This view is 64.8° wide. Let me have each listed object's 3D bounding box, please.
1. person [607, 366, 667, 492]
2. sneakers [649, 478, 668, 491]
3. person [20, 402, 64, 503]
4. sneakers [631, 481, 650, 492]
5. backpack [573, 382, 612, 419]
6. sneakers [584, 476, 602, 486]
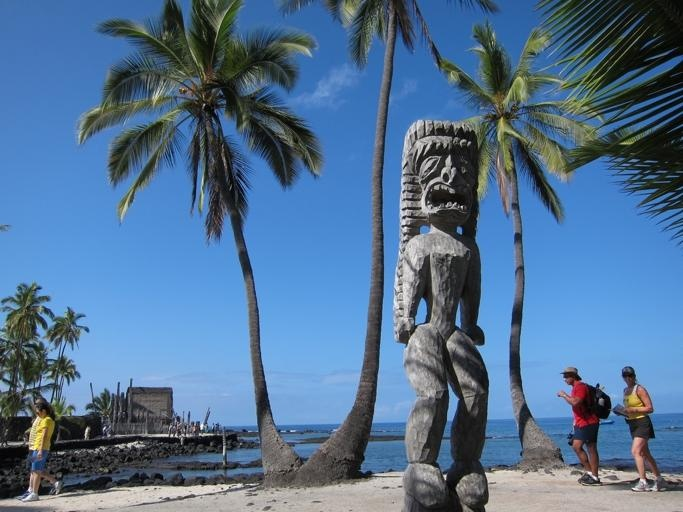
[{"bbox_3d":[5.388,3.131,9.826,0.588,2.135,1.201,-10,-16,27],"label":"person"},{"bbox_3d":[5.657,4.099,9.627,0.289,0.327,0.187,15,-15,-25],"label":"sneakers"},{"bbox_3d":[-6.423,4.143,11.571,0.673,2.058,1.368,5,-17,-26],"label":"person"},{"bbox_3d":[5.342,4.078,9.595,0.423,0.171,0.218,0,-17,-12],"label":"sneakers"},{"bbox_3d":[4.798,2.772,10.217,0.504,0.619,0.432,-6,-16,11],"label":"backpack"},{"bbox_3d":[4.677,4.218,10.066,0.315,0.170,0.132,-1,-13,22],"label":"sneakers"}]
